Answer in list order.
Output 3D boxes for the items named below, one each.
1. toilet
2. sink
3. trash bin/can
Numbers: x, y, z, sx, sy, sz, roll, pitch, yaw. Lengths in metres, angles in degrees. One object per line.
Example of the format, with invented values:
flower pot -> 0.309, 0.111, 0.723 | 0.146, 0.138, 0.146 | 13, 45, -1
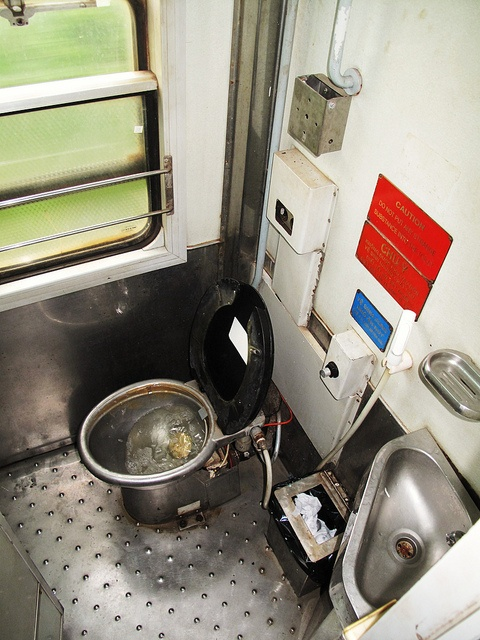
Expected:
toilet -> -0.228, 0.357, 1.808 | 0.691, 0.988, 0.530 | -9, 40, -21
sink -> 0.354, 0.553, 1.183 | 0.160, 0.484, 0.355 | 17, 31, -35
trash bin/can -> 0.247, 0.755, 1.667 | 0.272, 0.404, 0.307 | -18, 46, -25
